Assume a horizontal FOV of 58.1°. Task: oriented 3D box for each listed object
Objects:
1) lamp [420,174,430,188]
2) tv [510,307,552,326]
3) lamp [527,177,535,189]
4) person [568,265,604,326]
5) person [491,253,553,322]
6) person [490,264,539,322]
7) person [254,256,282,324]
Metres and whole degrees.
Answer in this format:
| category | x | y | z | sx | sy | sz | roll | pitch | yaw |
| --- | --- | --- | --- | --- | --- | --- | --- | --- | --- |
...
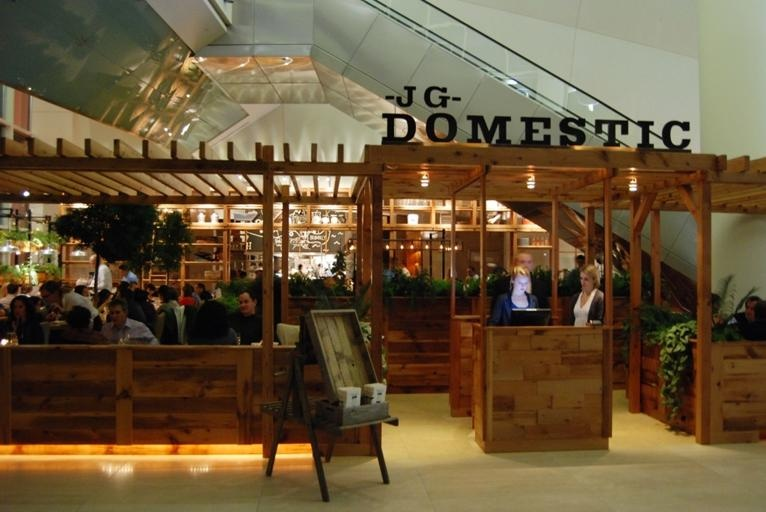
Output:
| category | x | y | z | sx | sy | sz | roll | pitch | yaw |
| --- | --- | --- | --- | --- | --- | --- | --- | --- | --- |
| lamp | 0.695 | -1.213 | 11.154 | 0.179 | 0.219 | 0.137 | 1 | -6 | -4 |
| tv | 2.248 | 0.903 | 10.663 | 0.468 | 0.293 | 0.312 | 0 | 8 | -5 |
| lamp | 2.391 | -1.174 | 11.132 | 0.139 | 0.139 | 0.138 | 1 | 1 | 21 |
| person | 3.275 | 0.626 | 11.028 | 0.498 | 0.963 | 1.031 | -1 | -2 | 15 |
| person | 2.432 | 0.560 | 11.970 | 1.258 | 1.636 | 0.549 | 1 | -7 | -11 |
| person | 2.167 | 0.632 | 11.263 | 0.999 | 1.079 | 0.390 | 2 | -4 | -8 |
| person | -1.999 | 0.683 | 12.328 | 0.786 | 0.971 | 0.452 | 0 | -9 | -16 |
